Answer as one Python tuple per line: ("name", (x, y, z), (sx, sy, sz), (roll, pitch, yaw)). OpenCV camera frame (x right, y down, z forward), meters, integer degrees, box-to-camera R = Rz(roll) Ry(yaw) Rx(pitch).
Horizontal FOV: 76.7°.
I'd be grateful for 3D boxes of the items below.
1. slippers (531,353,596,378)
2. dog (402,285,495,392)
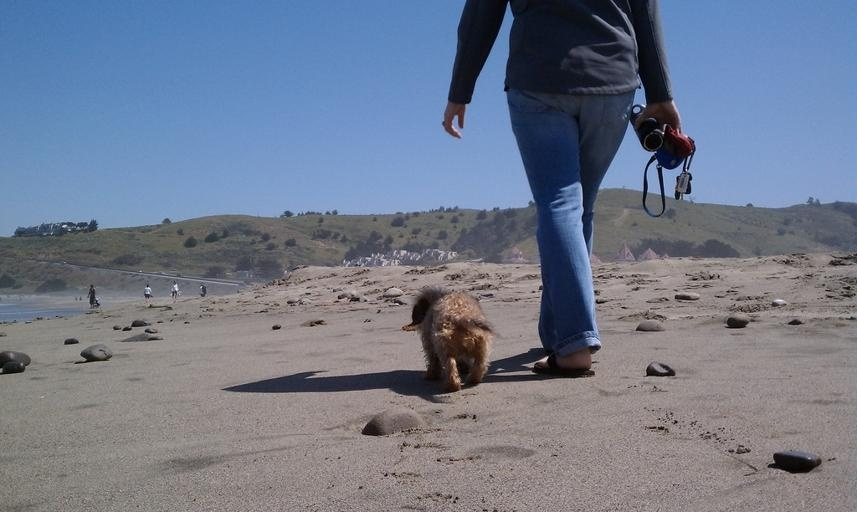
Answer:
("slippers", (0.966, 0.783, 3.903), (0.435, 0.132, 0.159), (0, -6, 32))
("dog", (0.187, 0.682, 4.307), (0.720, 0.758, 1.707), (-1, -1, -6))
